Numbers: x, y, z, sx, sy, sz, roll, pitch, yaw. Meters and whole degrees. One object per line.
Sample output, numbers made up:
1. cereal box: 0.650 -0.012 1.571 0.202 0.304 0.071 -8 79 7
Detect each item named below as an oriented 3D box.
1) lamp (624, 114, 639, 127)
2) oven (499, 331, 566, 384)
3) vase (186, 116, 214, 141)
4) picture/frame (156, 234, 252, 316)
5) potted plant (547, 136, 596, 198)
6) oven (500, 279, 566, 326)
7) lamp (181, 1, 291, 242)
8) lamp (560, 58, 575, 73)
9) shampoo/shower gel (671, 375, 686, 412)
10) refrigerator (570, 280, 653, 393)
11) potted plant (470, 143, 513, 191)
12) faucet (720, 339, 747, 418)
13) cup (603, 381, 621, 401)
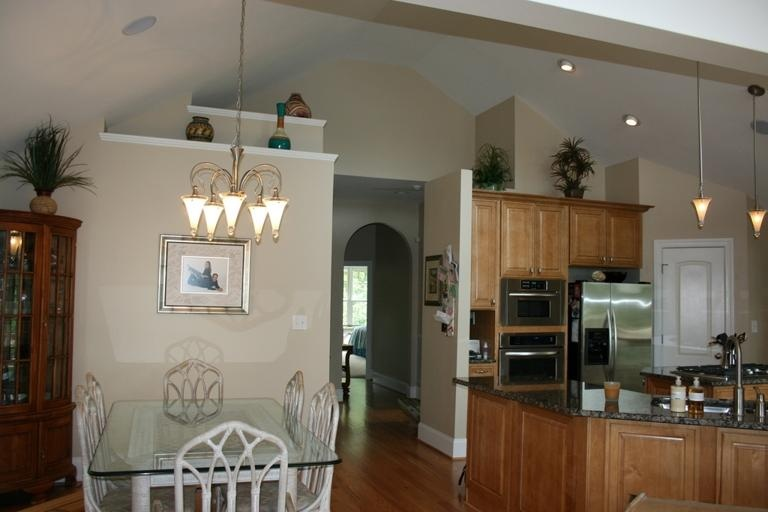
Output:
1. lamp: 3.074 -1.686 7.385 0.185 0.136 0.213 5 -1 23
2. oven: 1.867 1.393 7.316 0.786 0.773 0.551 -5 -29 22
3. vase: -1.888 -1.336 6.280 0.268 0.258 0.272 -1 -2 31
4. picture/frame: -1.864 0.195 6.027 0.833 0.705 0.063 1 -4 -12
5. potted plant: 2.501 -1.193 7.922 0.529 0.815 0.551 5 0 6
6. oven: 1.824 0.562 7.355 0.873 0.571 0.559 1 -3 -18
7. lamp: -1.222 -1.221 5.263 0.917 2.001 2.141 5 0 -17
8. lamp: 2.155 -2.254 7.023 0.198 0.134 0.271 5 -1 22
9. shampoo/shower gel: 2.151 0.997 4.339 0.109 0.255 0.246 5 0 27
10. refrigerator: 2.868 1.123 7.742 0.927 1.641 0.759 -3 4 -8
11. potted plant: 1.426 -1.183 7.722 0.494 0.626 1.090 5 -1 10
12. faucet: 2.542 0.865 4.309 0.138 0.568 0.334 5 0 31
13. cup: 1.792 1.053 4.649 0.158 0.151 0.140 3 -4 1
